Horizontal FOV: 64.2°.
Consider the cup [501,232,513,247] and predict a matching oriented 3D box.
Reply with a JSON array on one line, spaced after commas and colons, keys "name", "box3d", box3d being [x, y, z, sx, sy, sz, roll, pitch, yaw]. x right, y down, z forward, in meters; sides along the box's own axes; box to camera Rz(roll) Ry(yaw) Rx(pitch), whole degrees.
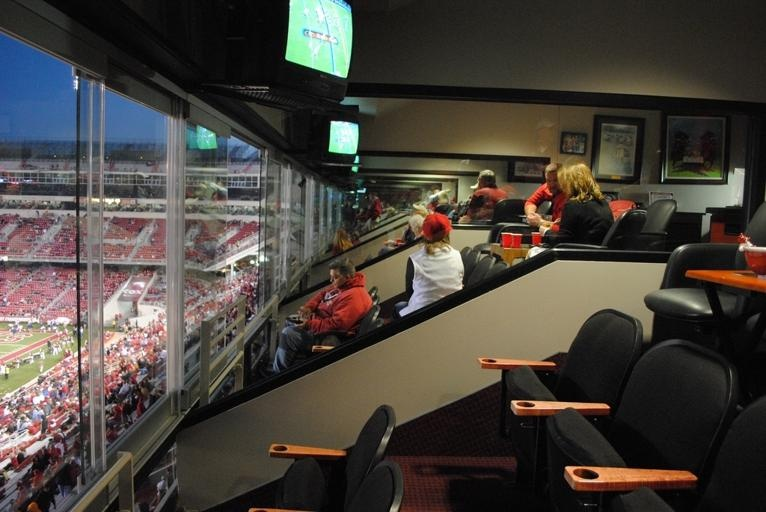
[{"name": "cup", "box3d": [0.953, -0.125, 4.679, 0.086, 0.101, 0.089, 4, 0, 0]}]

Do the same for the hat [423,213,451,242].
[{"name": "hat", "box3d": [0.421, -0.225, 4.860, 0.176, 0.135, 0.244, -5, 27, 11]}]

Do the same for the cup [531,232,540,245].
[{"name": "cup", "box3d": [1.210, -0.139, 4.796, 0.075, 0.100, 0.080, 5, -1, 0]}]

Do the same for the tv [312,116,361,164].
[{"name": "tv", "box3d": [-0.471, -1.008, 5.684, 0.459, 0.456, 0.448, 3, -1, -25]}]

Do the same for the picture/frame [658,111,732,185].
[{"name": "picture/frame", "box3d": [2.251, -0.768, 4.446, 0.514, 0.554, 0.054, 4, -13, -9]}]

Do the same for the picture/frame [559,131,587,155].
[{"name": "picture/frame", "box3d": [1.397, -0.823, 4.478, 0.172, 0.157, 0.026, 3, -9, 1]}]
